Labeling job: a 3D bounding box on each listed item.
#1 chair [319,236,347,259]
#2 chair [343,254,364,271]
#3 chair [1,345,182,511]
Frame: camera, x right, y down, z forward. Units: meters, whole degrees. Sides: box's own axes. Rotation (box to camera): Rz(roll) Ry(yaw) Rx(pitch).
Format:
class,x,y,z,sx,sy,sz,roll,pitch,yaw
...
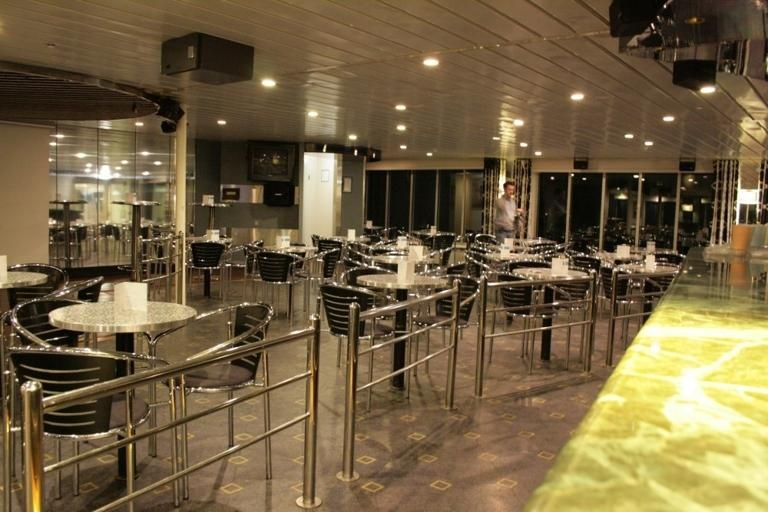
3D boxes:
class,x,y,z,sx,sy,sz,roll,pitch,yaw
chair,-0.967,-0.165,10.548,0.461,0.339,0.367,3,5,30
chair,-0.414,0.067,7.693,0.368,0.231,0.340,1,2,-1
chair,-1.648,0.940,3.182,0.670,0.938,0.937,-12,3,-33
